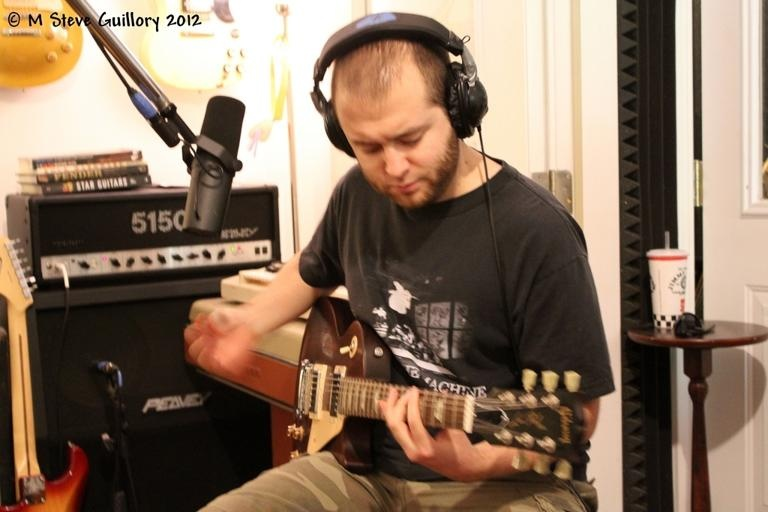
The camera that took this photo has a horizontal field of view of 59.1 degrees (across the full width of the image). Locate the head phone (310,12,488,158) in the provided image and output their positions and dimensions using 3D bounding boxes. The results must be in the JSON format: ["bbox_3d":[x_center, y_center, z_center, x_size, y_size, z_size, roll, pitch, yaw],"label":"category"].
[{"bbox_3d":[0.033,-0.474,2.001,0.486,0.432,0.185,-12,-13,1],"label":"head phone"}]

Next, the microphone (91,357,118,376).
[{"bbox_3d":[-1.131,0.439,2.742,0.080,0.116,0.346,4,-9,-21],"label":"microphone"}]

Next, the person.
[{"bbox_3d":[0.045,0.045,2.085,1.219,1.488,0.567,-3,4,17],"label":"person"}]

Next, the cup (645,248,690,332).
[{"bbox_3d":[1.101,0.124,2.640,0.155,0.299,0.149,-4,4,0],"label":"cup"}]

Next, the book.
[{"bbox_3d":[-1.303,-0.358,2.949,0.529,0.138,0.212,-6,4,-21],"label":"book"}]
